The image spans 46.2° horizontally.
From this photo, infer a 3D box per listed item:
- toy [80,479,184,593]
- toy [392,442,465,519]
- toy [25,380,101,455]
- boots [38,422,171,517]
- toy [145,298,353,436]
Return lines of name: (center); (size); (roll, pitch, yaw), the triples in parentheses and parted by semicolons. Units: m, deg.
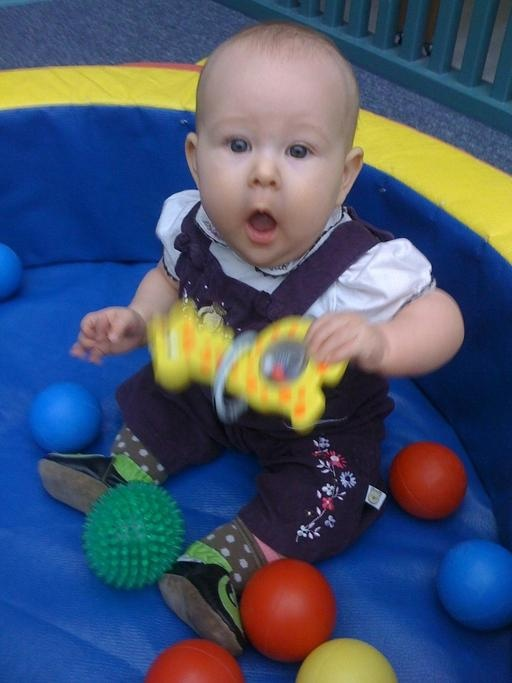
toy: (-0.155, 0.252, 0.868); (0.170, 0.183, 0.063); (41, 68, 14)
toy: (0.268, 0.218, 0.935); (0.114, 0.113, 0.127); (1, 82, -6)
toy: (-0.319, 0.135, 0.977); (0.118, 0.064, 0.113); (-11, 77, -10)
boots: (-0.233, 0.191, 0.931); (0.099, 0.065, 0.171); (33, 21, 29)
toy: (-0.022, 0.021, 0.875); (0.301, 0.070, 0.162); (15, 58, 19)
